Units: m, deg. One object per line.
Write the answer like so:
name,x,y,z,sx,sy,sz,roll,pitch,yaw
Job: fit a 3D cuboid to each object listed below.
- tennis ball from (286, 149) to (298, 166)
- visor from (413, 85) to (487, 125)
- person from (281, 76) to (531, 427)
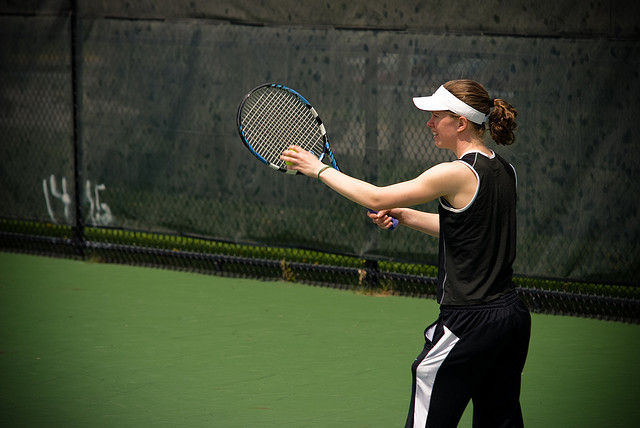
tennis ball,-0.194,-0.386,4.935,0.067,0.098,0.253,6,2,-4
visor,0.840,-0.691,4.701,0.380,0.126,0.253,28,5,3
person,0.771,0.247,4.657,1.225,2.186,0.363,6,1,10
